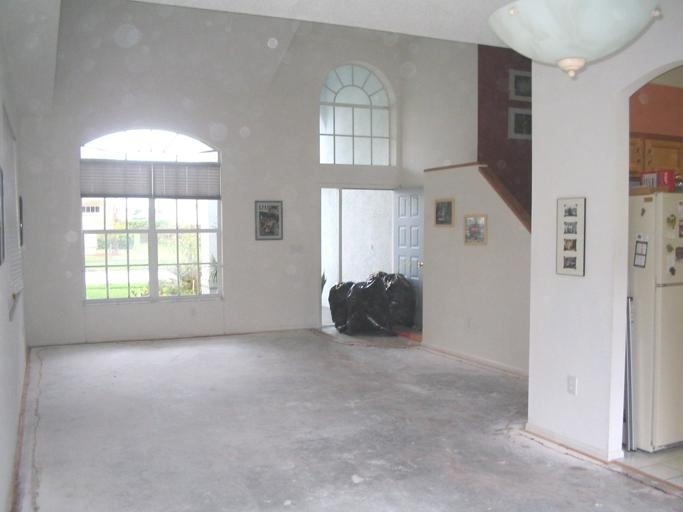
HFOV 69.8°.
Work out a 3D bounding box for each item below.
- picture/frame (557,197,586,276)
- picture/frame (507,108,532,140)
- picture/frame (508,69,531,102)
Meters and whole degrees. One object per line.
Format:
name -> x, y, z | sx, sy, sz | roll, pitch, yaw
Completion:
picture/frame -> 1.926, -0.168, 4.093 | 0.050, 0.642, 0.260 | -3, 6, -29
picture/frame -> 2.582, -1.938, 7.141 | 0.579, 0.547, 0.043 | -2, 1, -32
picture/frame -> 2.584, -2.502, 7.137 | 0.450, 0.437, 0.038 | 2, -2, -36
